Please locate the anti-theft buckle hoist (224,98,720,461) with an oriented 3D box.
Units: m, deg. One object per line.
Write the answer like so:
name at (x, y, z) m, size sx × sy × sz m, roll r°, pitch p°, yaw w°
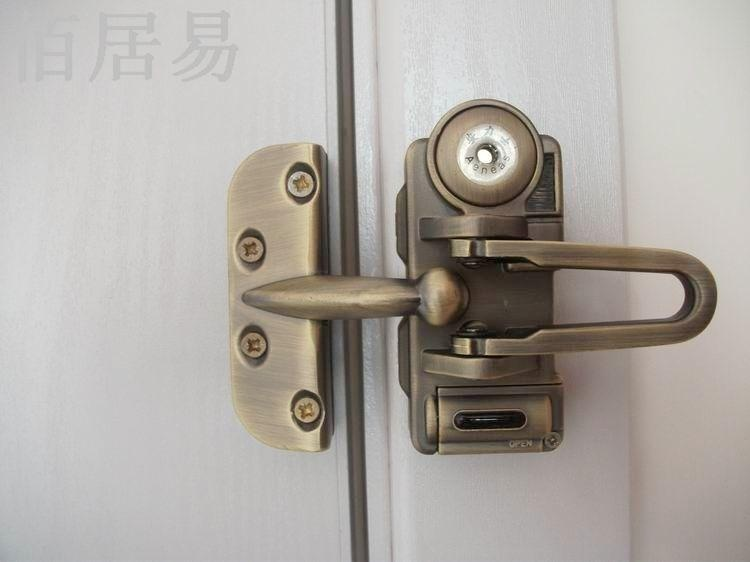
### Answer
anti-theft buckle hoist at (0.100, 0.003, 1.154) m, size 0.573 × 0.351 × 0.135 m, roll 2°, pitch -6°, yaw -12°
